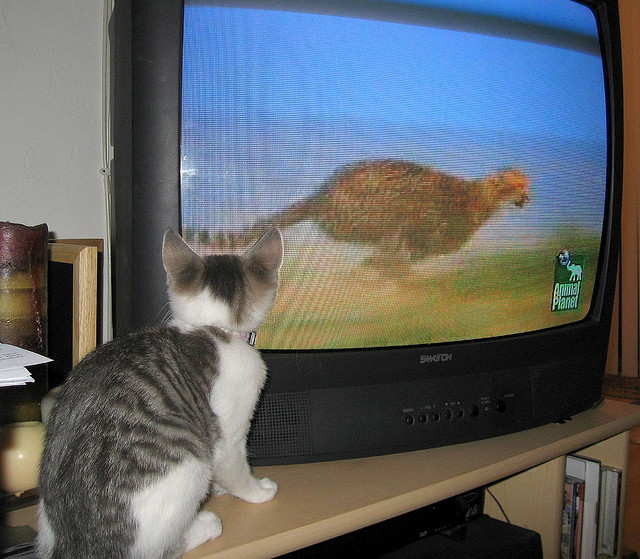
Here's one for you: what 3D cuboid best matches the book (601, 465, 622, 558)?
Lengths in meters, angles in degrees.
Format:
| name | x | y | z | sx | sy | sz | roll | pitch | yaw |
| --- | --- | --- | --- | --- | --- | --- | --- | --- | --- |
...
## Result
| name | x | y | z | sx | sy | sz | roll | pitch | yaw |
| --- | --- | --- | --- | --- | --- | --- | --- | --- | --- |
| book | 0.743 | 0.592 | 1.376 | 0.047 | 0.228 | 0.021 | 9 | 13 | 34 |

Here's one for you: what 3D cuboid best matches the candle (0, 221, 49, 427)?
| name | x | y | z | sx | sy | sz | roll | pitch | yaw |
| --- | --- | --- | --- | --- | --- | --- | --- | --- | --- |
| candle | -0.577 | 0.086 | 1.055 | 0.102 | 0.404 | 0.128 | -3 | 12 | -26 |

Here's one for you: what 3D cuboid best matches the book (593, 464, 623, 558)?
| name | x | y | z | sx | sy | sz | roll | pitch | yaw |
| --- | --- | --- | --- | --- | --- | --- | --- | --- | --- |
| book | 0.738 | 0.595 | 1.378 | 0.058 | 0.235 | 0.048 | 5 | 11 | 15 |

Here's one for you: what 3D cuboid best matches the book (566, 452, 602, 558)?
| name | x | y | z | sx | sy | sz | roll | pitch | yaw |
| --- | --- | --- | --- | --- | --- | --- | --- | --- | --- |
| book | 0.683 | 0.570 | 1.404 | 0.094 | 0.251 | 0.104 | 7 | 12 | 26 |
